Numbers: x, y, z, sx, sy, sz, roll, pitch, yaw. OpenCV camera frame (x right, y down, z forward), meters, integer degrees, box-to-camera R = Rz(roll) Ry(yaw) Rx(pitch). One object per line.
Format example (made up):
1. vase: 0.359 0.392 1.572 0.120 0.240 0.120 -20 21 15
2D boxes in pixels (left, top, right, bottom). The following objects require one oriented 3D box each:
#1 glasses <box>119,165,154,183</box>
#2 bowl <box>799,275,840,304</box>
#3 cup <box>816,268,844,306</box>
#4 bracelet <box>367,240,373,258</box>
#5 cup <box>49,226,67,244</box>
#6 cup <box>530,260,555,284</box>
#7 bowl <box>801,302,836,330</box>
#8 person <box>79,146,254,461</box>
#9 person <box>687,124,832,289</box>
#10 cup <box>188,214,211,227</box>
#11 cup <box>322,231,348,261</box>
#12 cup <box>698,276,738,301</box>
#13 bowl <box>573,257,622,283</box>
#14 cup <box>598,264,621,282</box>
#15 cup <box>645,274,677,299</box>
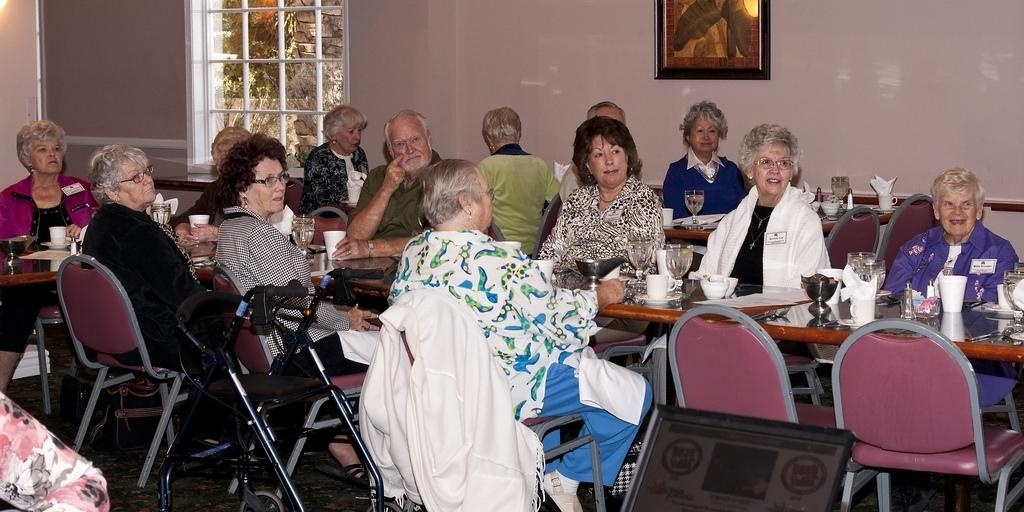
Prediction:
1. glasses: -2.544 -0.528 5.063 0.145 0.040 0.141 -12 7 29
2. bowl: 1.777 0.180 4.278 0.181 0.134 0.175 -1 6 0
3. cup: 1.939 0.191 4.487 0.230 0.239 0.222 -2 4 0
4. bracelet: -1.031 -0.061 5.495 0.063 0.095 0.093 1 -3 -8
5. cup: -3.452 -0.158 5.736 0.134 0.120 0.155 -1 -7 -1
6. cup: 0.185 0.090 4.330 0.124 0.107 0.130 0 7 0
7. bowl: 1.736 0.338 4.197 0.164 0.161 0.158 -1 4 0
8. person: -2.314 0.164 5.200 0.945 1.865 0.995 11 23 37
9. person: 1.752 -0.269 5.166 0.814 1.178 0.893 -17 23 -35
10. cup: -2.523 -0.285 6.018 0.142 0.098 0.139 0 -5 0
11. cup: -1.296 -0.078 5.438 0.201 0.196 0.193 0 -6 0
12. cup: 1.252 0.191 4.531 0.195 0.126 0.179 3 9 0
13. bowl: 0.557 0.088 4.726 0.215 0.116 0.162 1 1 27
14. cup: 0.620 0.106 4.754 0.110 0.103 0.104 -4 11 1
15. cup: 0.903 0.193 4.488 0.197 0.133 0.121 1 2 -3
